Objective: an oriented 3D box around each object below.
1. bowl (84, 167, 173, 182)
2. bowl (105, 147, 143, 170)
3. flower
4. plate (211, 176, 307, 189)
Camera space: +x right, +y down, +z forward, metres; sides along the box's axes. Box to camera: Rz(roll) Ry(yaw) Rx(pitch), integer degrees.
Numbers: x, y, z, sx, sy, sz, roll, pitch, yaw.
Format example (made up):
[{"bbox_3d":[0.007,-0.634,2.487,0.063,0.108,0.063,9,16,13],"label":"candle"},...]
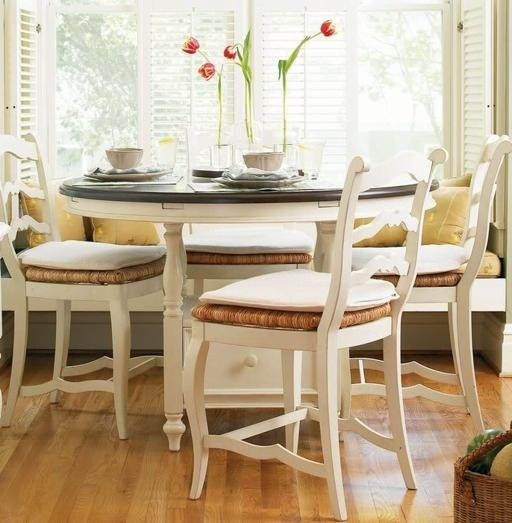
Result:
[{"bbox_3d":[-0.383,-0.287,1.618,0.236,0.072,0.157,-2,12,-20],"label":"bowl"},{"bbox_3d":[-0.429,-0.338,1.707,0.087,0.055,0.089,1,13,0],"label":"bowl"},{"bbox_3d":[-0.001,-0.980,2.803,0.778,0.779,0.328,-6,17,-22],"label":"flower"},{"bbox_3d":[0.007,-0.212,1.443,0.228,0.038,0.138,-1,5,-8],"label":"plate"}]
